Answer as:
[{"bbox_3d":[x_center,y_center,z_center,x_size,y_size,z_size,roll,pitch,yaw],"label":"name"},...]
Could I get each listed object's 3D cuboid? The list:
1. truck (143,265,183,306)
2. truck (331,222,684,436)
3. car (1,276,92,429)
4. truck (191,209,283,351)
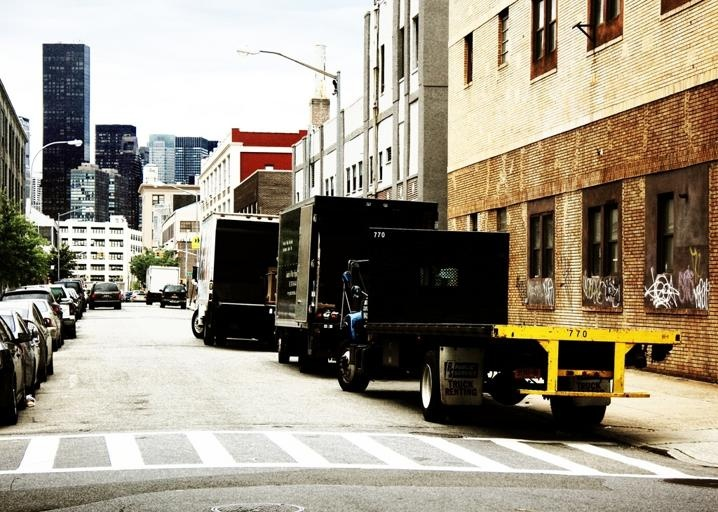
[{"bbox_3d":[-18.351,2.534,85.428,2.798,3.045,5.337,1,-5,-17],"label":"truck"},{"bbox_3d":[2.014,1.182,16.116,3.125,3.457,6.583,7,-4,-31],"label":"truck"},{"bbox_3d":[-7.289,2.208,21.327,1.960,1.770,4.456,0,-1,-4],"label":"car"},{"bbox_3d":[-3.633,0.833,28.467,2.905,3.674,6.014,2,-3,-14],"label":"truck"}]
